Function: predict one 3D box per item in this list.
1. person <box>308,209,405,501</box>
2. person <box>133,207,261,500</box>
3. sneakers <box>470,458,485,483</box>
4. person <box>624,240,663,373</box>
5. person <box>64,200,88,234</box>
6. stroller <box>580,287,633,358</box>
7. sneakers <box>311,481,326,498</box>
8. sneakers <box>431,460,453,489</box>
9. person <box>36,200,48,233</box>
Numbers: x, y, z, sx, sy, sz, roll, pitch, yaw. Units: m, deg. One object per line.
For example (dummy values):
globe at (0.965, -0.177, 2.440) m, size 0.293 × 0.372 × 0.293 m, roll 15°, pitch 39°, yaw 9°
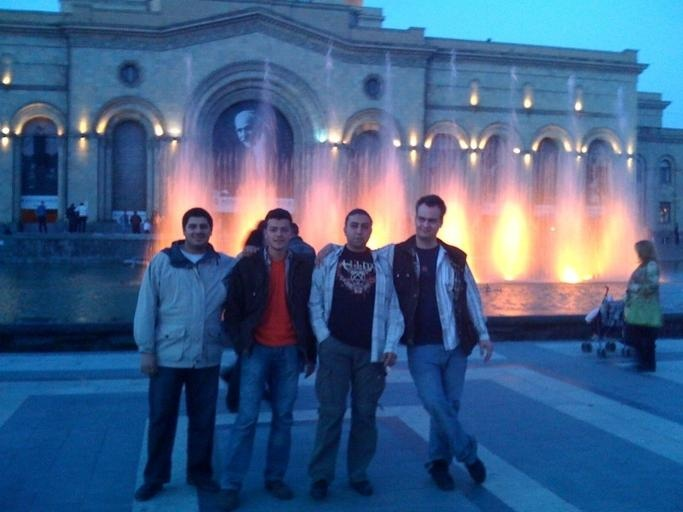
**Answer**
person at (0.151, 0.926, 6.952) m, size 0.955 × 2.728 × 0.939 m, roll 0°, pitch 9°, yaw -3°
person at (-1.556, 0.924, 6.910) m, size 0.900 × 2.693 × 0.801 m, roll -2°, pitch 9°, yaw -15°
sneakers at (1.351, 2.147, 6.977) m, size 0.124 × 0.240 × 0.105 m, roll -10°, pitch -8°, yaw 2°
person at (4.448, 0.738, 10.279) m, size 0.533 × 1.880 × 0.485 m, roll 5°, pitch 10°, yaw 24°
person at (-11.754, -1.681, 30.861) m, size 0.839 × 1.230 × 0.681 m, roll -3°, pitch 10°, yaw -23°
stroller at (4.398, 1.110, 11.740) m, size 1.004 × 1.454 × 1.052 m, roll 1°, pitch -3°, yaw 15°
sneakers at (-0.222, 2.257, 6.712) m, size 0.167 × 0.157 × 0.102 m, roll 0°, pitch 9°, yaw -3°
sneakers at (0.986, 2.167, 6.906) m, size 0.226 × 0.226 × 0.213 m, roll 1°, pitch 9°, yaw -1°
person at (-13.187, -1.661, 30.611) m, size 0.333 × 1.277 × 0.895 m, roll -4°, pitch 10°, yaw -28°
